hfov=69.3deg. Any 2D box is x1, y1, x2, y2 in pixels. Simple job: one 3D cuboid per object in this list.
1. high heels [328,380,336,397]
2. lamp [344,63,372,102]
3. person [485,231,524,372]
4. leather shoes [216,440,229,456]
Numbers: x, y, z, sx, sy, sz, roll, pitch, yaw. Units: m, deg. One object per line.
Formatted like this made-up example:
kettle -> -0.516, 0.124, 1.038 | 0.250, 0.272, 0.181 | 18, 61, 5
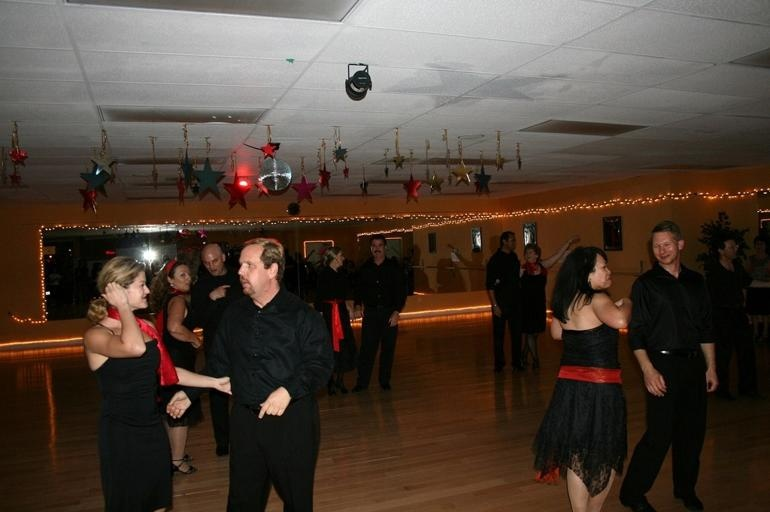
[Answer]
high heels -> -0.728, 1.809, 7.632 | 0.145, 0.207, 0.482 | 1, -14, -5
lamp -> -0.243, -1.536, 4.902 | 0.262, 0.308, 0.310 | -13, 30, -36
person -> 1.807, 0.671, 8.451 | 0.500, 2.071, 0.509 | -2, 5, 13
leather shoes -> -1.726, 2.052, 5.941 | 0.175, 0.171, 0.116 | -3, -9, 8
